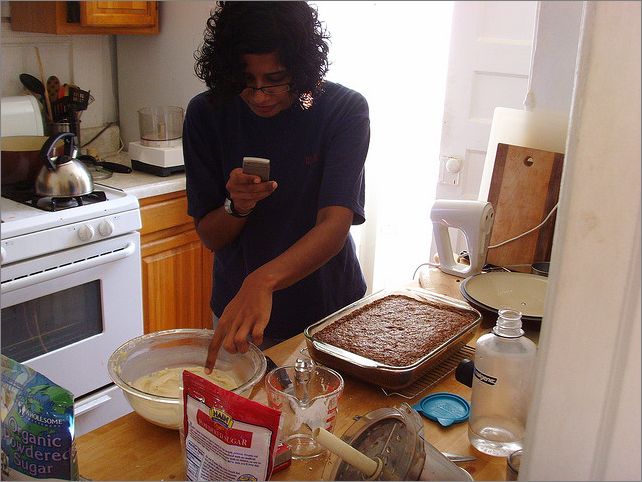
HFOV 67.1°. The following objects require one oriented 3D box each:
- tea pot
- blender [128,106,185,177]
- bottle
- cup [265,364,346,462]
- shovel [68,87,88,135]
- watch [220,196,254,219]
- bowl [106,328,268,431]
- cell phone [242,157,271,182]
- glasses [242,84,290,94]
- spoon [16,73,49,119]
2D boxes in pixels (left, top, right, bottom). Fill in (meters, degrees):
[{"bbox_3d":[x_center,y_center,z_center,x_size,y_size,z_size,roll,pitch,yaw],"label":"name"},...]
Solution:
[{"bbox_3d":[-1.109,-0.335,2.051,0.220,0.254,0.228,3,24,-1],"label":"tea pot"},{"bbox_3d":[-0.868,-0.537,2.598,0.240,0.326,0.237,13,20,21],"label":"blender"},{"bbox_3d":[0.318,0.248,0.856,0.096,0.250,0.098,2,12,-1],"label":"bottle"},{"bbox_3d":[-0.030,0.288,0.892,0.131,0.170,0.169,0,8,-5],"label":"cup"},{"bbox_3d":[-1.305,-0.688,2.591,0.063,0.243,0.094,16,21,39],"label":"shovel"},{"bbox_3d":[-0.255,-0.088,1.438,0.077,0.054,0.083,49,10,35],"label":"watch"},{"bbox_3d":[-0.270,0.272,0.942,0.282,0.104,0.293,8,12,-2],"label":"bowl"},{"bbox_3d":[-0.159,-0.182,1.223,0.072,0.057,0.061,5,16,18],"label":"cell phone"},{"bbox_3d":[-0.136,-0.384,1.215,0.113,0.026,0.047,-1,15,-6],"label":"glasses"},{"bbox_3d":[-1.549,-0.804,2.606,0.097,0.315,0.042,-27,-12,-40],"label":"spoon"}]
